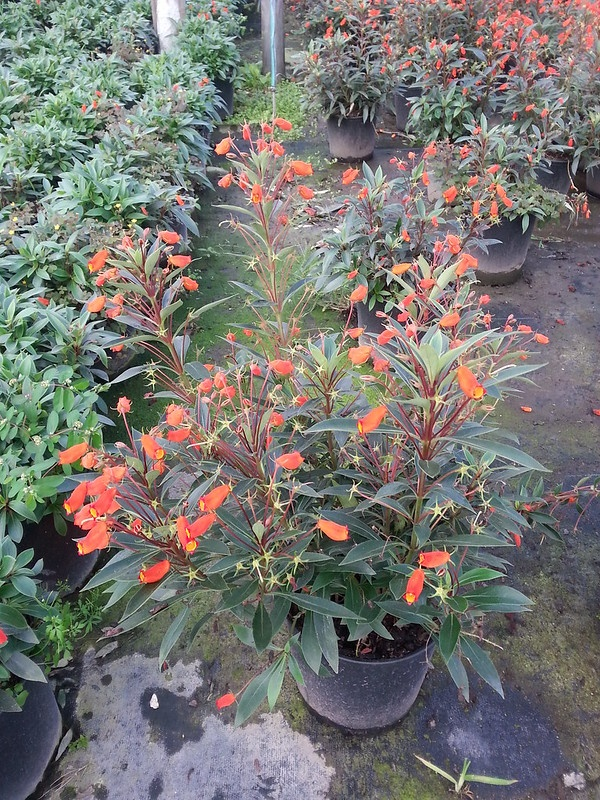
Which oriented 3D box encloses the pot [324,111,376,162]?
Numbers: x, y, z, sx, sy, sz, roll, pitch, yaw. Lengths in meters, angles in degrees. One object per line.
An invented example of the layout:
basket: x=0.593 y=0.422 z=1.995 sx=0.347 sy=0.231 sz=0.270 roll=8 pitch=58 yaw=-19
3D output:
pot: x=0.426 y=-2.172 z=4.865 sx=0.359 sy=0.276 sz=0.368 roll=-2 pitch=50 yaw=2

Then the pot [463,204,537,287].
pot: x=1.186 y=-0.920 z=3.502 sx=0.416 sy=0.365 sz=0.436 roll=-4 pitch=39 yaw=3
